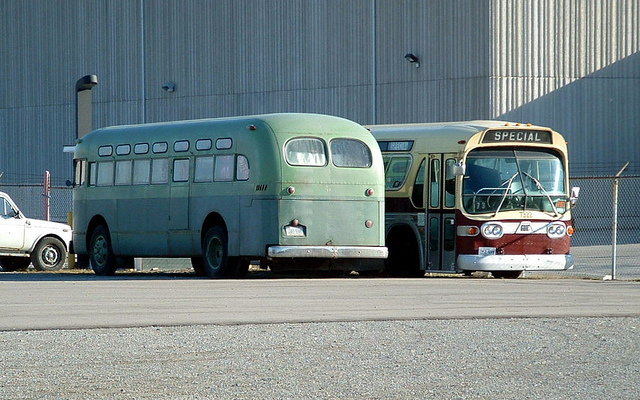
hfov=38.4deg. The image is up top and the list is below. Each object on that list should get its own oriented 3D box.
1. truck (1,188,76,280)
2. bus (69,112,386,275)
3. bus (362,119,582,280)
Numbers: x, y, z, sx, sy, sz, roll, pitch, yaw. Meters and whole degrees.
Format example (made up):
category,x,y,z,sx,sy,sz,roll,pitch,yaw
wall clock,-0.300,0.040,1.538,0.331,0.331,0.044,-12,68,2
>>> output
category,x,y,z,sx,sy,sz,roll,pitch,yaw
truck,-9.157,1.071,29.616,1.987,2.605,3.446,-1,2,-19
bus,-3.412,-0.081,27.661,3.922,4.484,10.874,4,-4,-42
bus,2.984,0.028,29.535,4.221,4.685,11.235,2,-1,-27
